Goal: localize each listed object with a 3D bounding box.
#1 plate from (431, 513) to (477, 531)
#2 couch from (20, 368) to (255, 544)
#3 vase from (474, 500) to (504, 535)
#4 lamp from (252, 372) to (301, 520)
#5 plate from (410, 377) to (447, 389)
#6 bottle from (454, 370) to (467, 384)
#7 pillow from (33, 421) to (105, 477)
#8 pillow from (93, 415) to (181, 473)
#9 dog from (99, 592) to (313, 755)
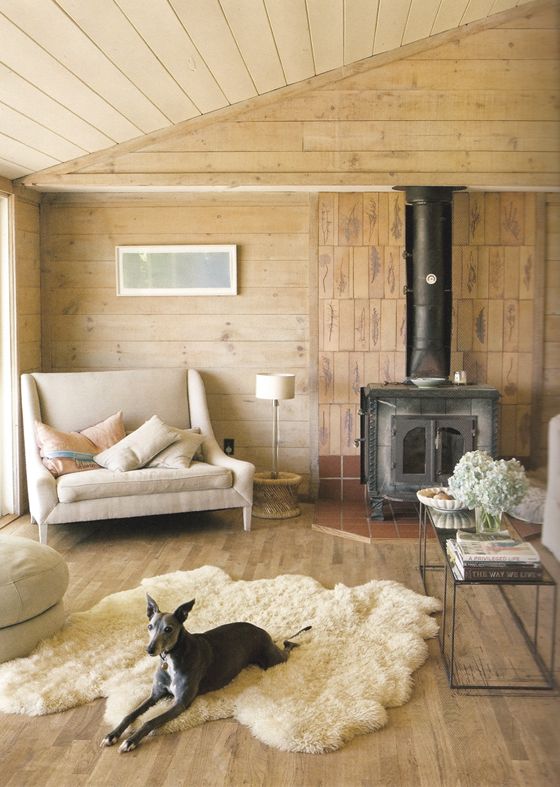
[{"bbox_3d":[0.680,0.501,2.518,0.109,0.025,0.110,1,3,5],"label":"plate"},{"bbox_3d":[-0.934,0.329,4.002,1.222,0.906,0.924,-1,7,-22],"label":"couch"},{"bbox_3d":[0.754,0.447,2.334,0.112,0.166,0.105,-1,4,3],"label":"vase"},{"bbox_3d":[-0.021,0.329,4.332,0.309,0.928,0.476,0,4,1],"label":"lamp"},{"bbox_3d":[0.967,-0.074,4.149,0.250,0.062,0.251,0,4,1],"label":"plate"},{"bbox_3d":[1.168,-0.113,4.227,0.062,0.101,0.109,0,-4,13],"label":"bottle"},{"bbox_3d":[-1.247,0.318,3.801,0.349,0.276,0.368,-2,4,-21],"label":"pillow"},{"bbox_3d":[-0.889,0.244,3.796,0.254,0.118,0.419,8,31,41],"label":"pillow"},{"bbox_3d":[-0.181,0.773,2.048,0.819,0.363,0.208,-5,0,-45],"label":"dog"}]
